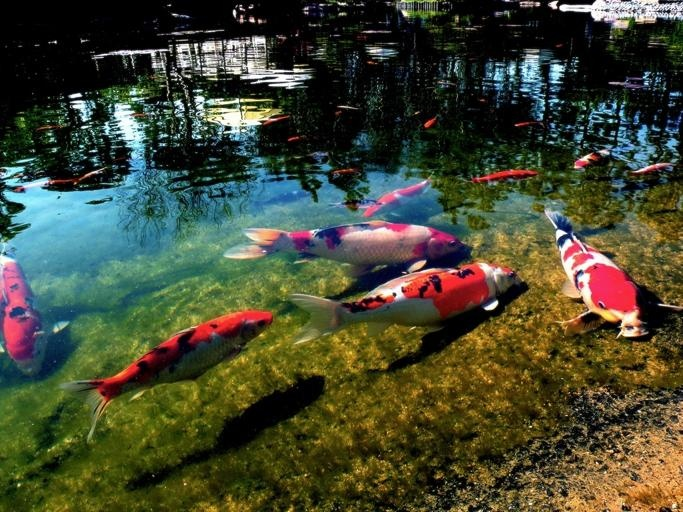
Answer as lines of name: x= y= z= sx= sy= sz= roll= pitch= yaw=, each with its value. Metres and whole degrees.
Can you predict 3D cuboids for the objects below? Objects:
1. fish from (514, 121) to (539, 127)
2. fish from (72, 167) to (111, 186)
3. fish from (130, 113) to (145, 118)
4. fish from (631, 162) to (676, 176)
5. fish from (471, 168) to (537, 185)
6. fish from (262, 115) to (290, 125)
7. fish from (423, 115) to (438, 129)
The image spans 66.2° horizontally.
fish: x=4.318 y=-3.046 z=12.085 sx=0.559 sy=0.098 sz=0.409 roll=2 pitch=19 yaw=16
fish: x=-5.166 y=-1.647 z=10.628 sx=0.864 sy=0.264 sz=0.197 roll=-18 pitch=-21 yaw=-30
fish: x=-5.490 y=-3.803 z=14.094 sx=0.360 sy=0.125 sz=0.640 roll=-10 pitch=20 yaw=-18
fish: x=5.733 y=-1.582 z=9.489 sx=0.630 sy=0.152 sz=0.156 roll=-15 pitch=-12 yaw=2
fish: x=3.122 y=-1.492 z=9.799 sx=1.124 sy=0.284 sz=0.217 roll=-3 pitch=52 yaw=3
fish: x=-1.666 y=-3.467 z=13.297 sx=0.863 sy=0.209 sz=0.526 roll=-11 pitch=20 yaw=-22
fish: x=2.190 y=-3.238 z=12.673 sx=0.142 sy=0.216 sz=0.518 roll=34 pitch=62 yaw=17
